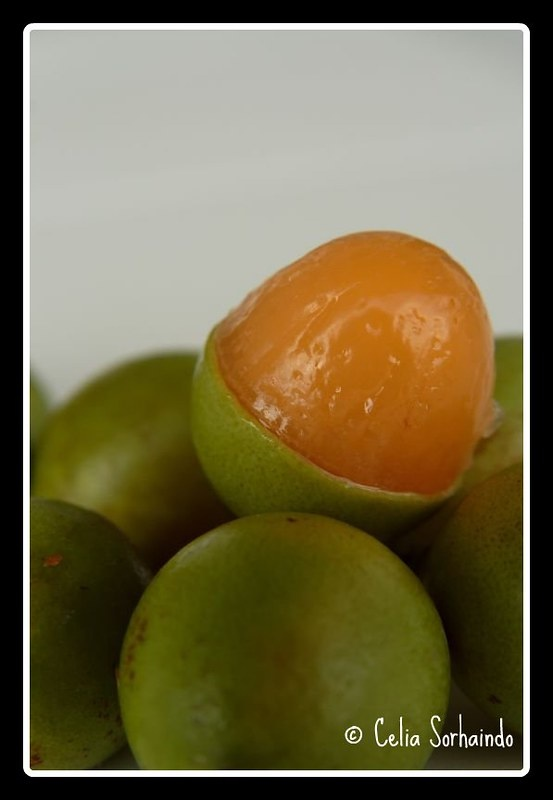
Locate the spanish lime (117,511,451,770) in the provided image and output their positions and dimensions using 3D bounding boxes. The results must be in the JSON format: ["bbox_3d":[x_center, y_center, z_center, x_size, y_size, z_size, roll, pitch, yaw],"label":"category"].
[{"bbox_3d":[0.003,0.108,0.371,0.133,0.063,0.095,-2,47,2],"label":"spanish lime"}]
